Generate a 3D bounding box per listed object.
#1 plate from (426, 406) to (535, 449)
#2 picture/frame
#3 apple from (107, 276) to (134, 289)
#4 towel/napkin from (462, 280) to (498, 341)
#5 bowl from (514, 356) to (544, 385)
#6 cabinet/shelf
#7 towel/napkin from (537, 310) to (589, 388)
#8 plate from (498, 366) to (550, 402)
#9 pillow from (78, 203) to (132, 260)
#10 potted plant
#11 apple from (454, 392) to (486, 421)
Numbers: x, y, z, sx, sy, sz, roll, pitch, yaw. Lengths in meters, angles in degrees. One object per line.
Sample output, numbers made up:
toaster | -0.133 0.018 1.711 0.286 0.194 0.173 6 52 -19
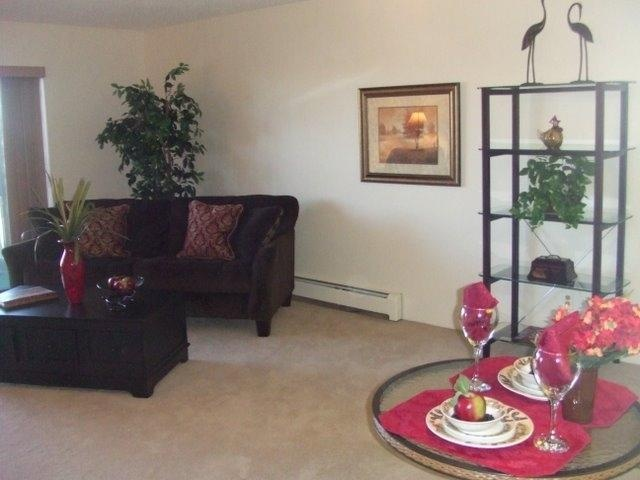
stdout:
plate | 0.591 0.688 1.964 0.382 0.051 0.203 2 15 12
picture/frame | 0.788 -0.892 4.420 0.886 0.784 0.043 2 6 35
apple | -1.378 0.300 3.689 0.179 0.065 0.195 -6 15 -20
towel/napkin | 0.689 0.309 2.294 0.144 0.257 0.175 4 15 18
bowl | 0.904 0.565 2.321 0.136 0.056 0.141 -1 9 0
cabinet/shelf | 1.719 -0.352 3.758 0.320 1.361 0.731 9 -1 14
towel/napkin | 0.826 0.391 1.849 0.144 0.248 0.244 1 -3 -1
plate | 0.830 0.586 2.154 0.197 0.028 0.196 13 17 42
pillow | -1.944 -0.057 4.793 0.461 0.459 0.144 -1 -8 -21
potted plant | -1.770 0.039 3.841 0.455 0.857 0.474 -2 1 26
apple | 0.544 0.592 1.948 0.091 0.095 0.091 9 8 40
